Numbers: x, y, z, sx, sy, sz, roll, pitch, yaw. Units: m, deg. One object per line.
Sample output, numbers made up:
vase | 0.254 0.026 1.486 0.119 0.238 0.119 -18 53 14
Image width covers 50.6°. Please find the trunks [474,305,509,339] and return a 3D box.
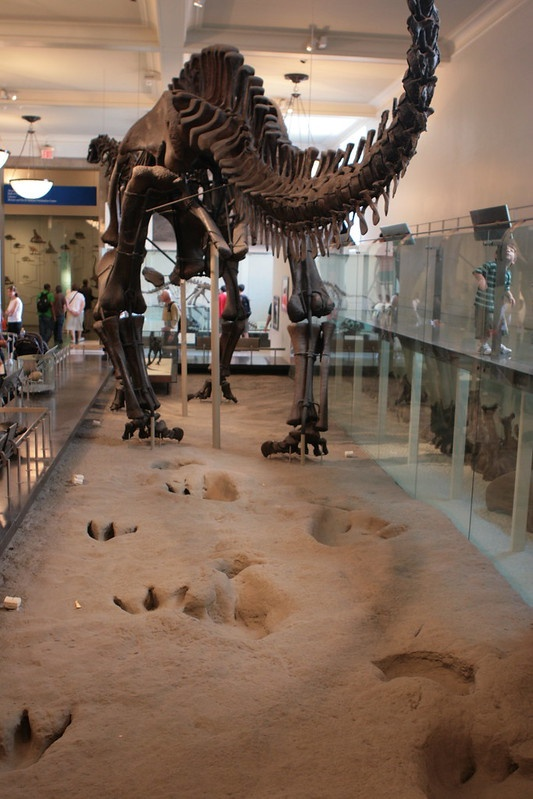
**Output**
trunks | 1.422 -0.485 3.557 0.163 0.187 0.171 3 5 22

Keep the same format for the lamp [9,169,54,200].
lamp | -6.061 -5.462 14.320 1.024 0.718 1.051 10 19 27
